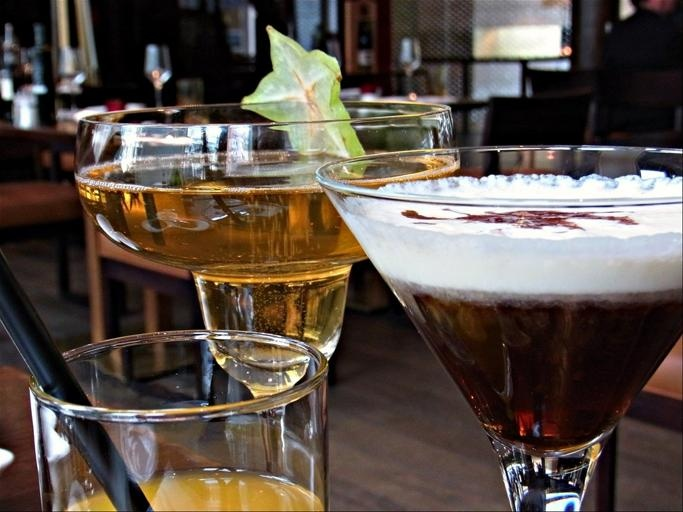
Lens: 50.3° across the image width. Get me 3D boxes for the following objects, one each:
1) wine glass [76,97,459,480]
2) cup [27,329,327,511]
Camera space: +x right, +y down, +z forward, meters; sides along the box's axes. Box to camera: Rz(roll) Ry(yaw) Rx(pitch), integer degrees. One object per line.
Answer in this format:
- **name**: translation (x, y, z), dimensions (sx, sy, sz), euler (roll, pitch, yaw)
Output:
- **wine glass**: translation (-0.030, 0.005, 0.415), dimensions (0.203, 0.126, 0.171), euler (-2, 4, 1)
- **cup**: translation (-0.065, 0.063, 0.333), dimensions (0.115, 0.066, 0.090), euler (1, 9, 5)
